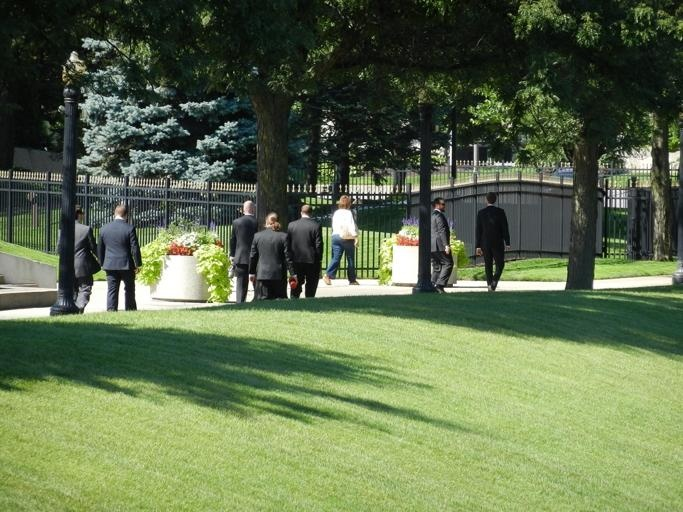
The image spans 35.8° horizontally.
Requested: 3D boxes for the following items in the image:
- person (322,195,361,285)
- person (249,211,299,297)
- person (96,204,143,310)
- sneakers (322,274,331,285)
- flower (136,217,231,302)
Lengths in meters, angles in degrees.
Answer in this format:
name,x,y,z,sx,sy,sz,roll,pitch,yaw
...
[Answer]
name,x,y,z,sx,sy,sz,roll,pitch,yaw
person,0.087,-0.300,20.689,0.702,1.929,1.437,6,10,1
person,-0.979,0.155,14.765,0.570,1.581,0.427,1,20,-6
person,-3.227,0.059,15.257,0.624,1.504,0.840,3,10,-15
sneakers,-0.276,0.455,20.547,0.106,0.079,0.237,-41,21,-6
flower,-2.565,0.039,17.307,1.156,1.163,1.238,1,-2,-20
